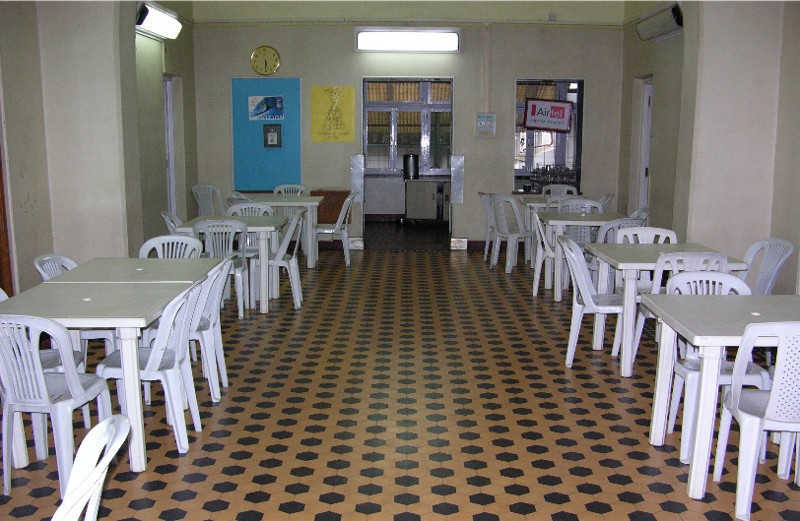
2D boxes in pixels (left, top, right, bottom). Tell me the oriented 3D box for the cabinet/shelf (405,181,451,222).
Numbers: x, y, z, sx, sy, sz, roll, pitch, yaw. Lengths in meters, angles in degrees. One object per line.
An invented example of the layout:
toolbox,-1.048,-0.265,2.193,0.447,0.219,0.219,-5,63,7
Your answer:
cabinet/shelf,0.636,-1.314,13.368,1.049,0.669,0.966,0,5,2

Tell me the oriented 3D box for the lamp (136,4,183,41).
lamp,-3.751,-3.651,8.962,0.422,0.360,0.994,0,13,0

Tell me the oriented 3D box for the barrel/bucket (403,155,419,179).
barrel/bucket,0.233,-1.911,12.031,0.326,0.497,0.274,-1,15,-1

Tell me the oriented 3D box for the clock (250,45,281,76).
clock,-2.477,-3.710,10.846,0.597,0.517,0.042,1,8,-7

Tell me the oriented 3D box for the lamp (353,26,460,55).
lamp,0.124,-3.882,10.380,1.780,0.378,0.458,-1,14,-4
